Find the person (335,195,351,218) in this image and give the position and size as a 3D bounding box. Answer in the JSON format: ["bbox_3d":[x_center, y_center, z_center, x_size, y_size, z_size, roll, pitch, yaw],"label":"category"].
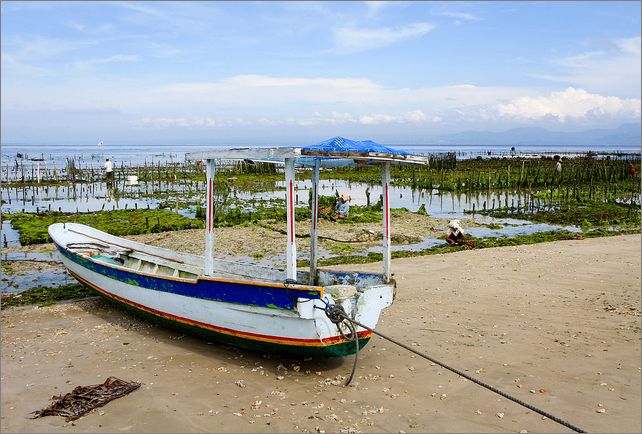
[{"bbox_3d":[1.237,-0.627,33.189,0.797,1.325,0.868,-3,7,1],"label":"person"}]
